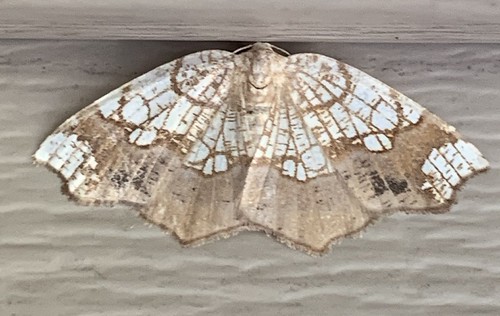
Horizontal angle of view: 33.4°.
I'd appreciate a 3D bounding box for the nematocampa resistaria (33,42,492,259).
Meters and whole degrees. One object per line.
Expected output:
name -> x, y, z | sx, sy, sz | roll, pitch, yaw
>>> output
nematocampa resistaria -> 0.236, -0.200, 7.875 | 5.067, 1.893, 0.496 | 2, -11, 4
